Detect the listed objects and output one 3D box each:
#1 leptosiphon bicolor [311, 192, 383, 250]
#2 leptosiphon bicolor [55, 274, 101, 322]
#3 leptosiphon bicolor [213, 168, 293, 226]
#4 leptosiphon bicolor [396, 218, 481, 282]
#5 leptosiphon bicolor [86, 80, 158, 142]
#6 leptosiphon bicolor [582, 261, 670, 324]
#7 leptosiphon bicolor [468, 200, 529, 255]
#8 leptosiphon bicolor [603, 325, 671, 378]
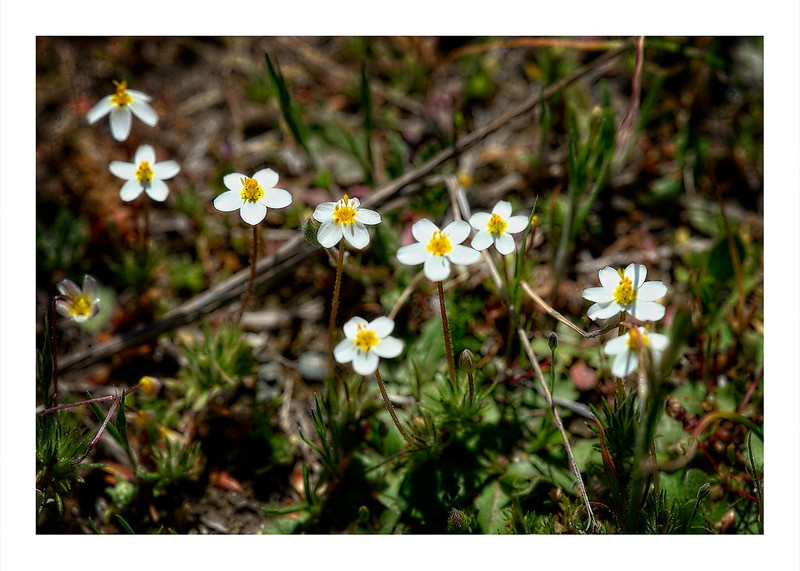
[{"bbox_3d":[-0.258,-0.393,3.526,0.300,0.132,0.341,0,-12,45],"label":"leptosiphon bicolor"},{"bbox_3d":[-1.722,0.076,3.668,0.219,0.245,0.145,-17,3,-19],"label":"leptosiphon bicolor"},{"bbox_3d":[-0.800,-0.488,3.671,0.294,0.137,0.309,-11,-27,26],"label":"leptosiphon bicolor"},{"bbox_3d":[0.200,-0.176,3.514,0.335,0.362,0.083,-10,-29,1],"label":"leptosiphon bicolor"},{"bbox_3d":[-1.595,-0.979,3.978,0.400,0.399,0.133,-6,16,-22],"label":"leptosiphon bicolor"},{"bbox_3d":[1.117,0.014,3.447,0.322,0.342,0.114,-17,-61,-7],"label":"leptosiphon bicolor"},{"bbox_3d":[0.515,-0.329,3.625,0.192,0.085,0.198,-19,-6,-26],"label":"leptosiphon bicolor"},{"bbox_3d":[1.139,0.303,3.299,0.253,0.252,0.070,-37,-42,-12],"label":"leptosiphon bicolor"}]
